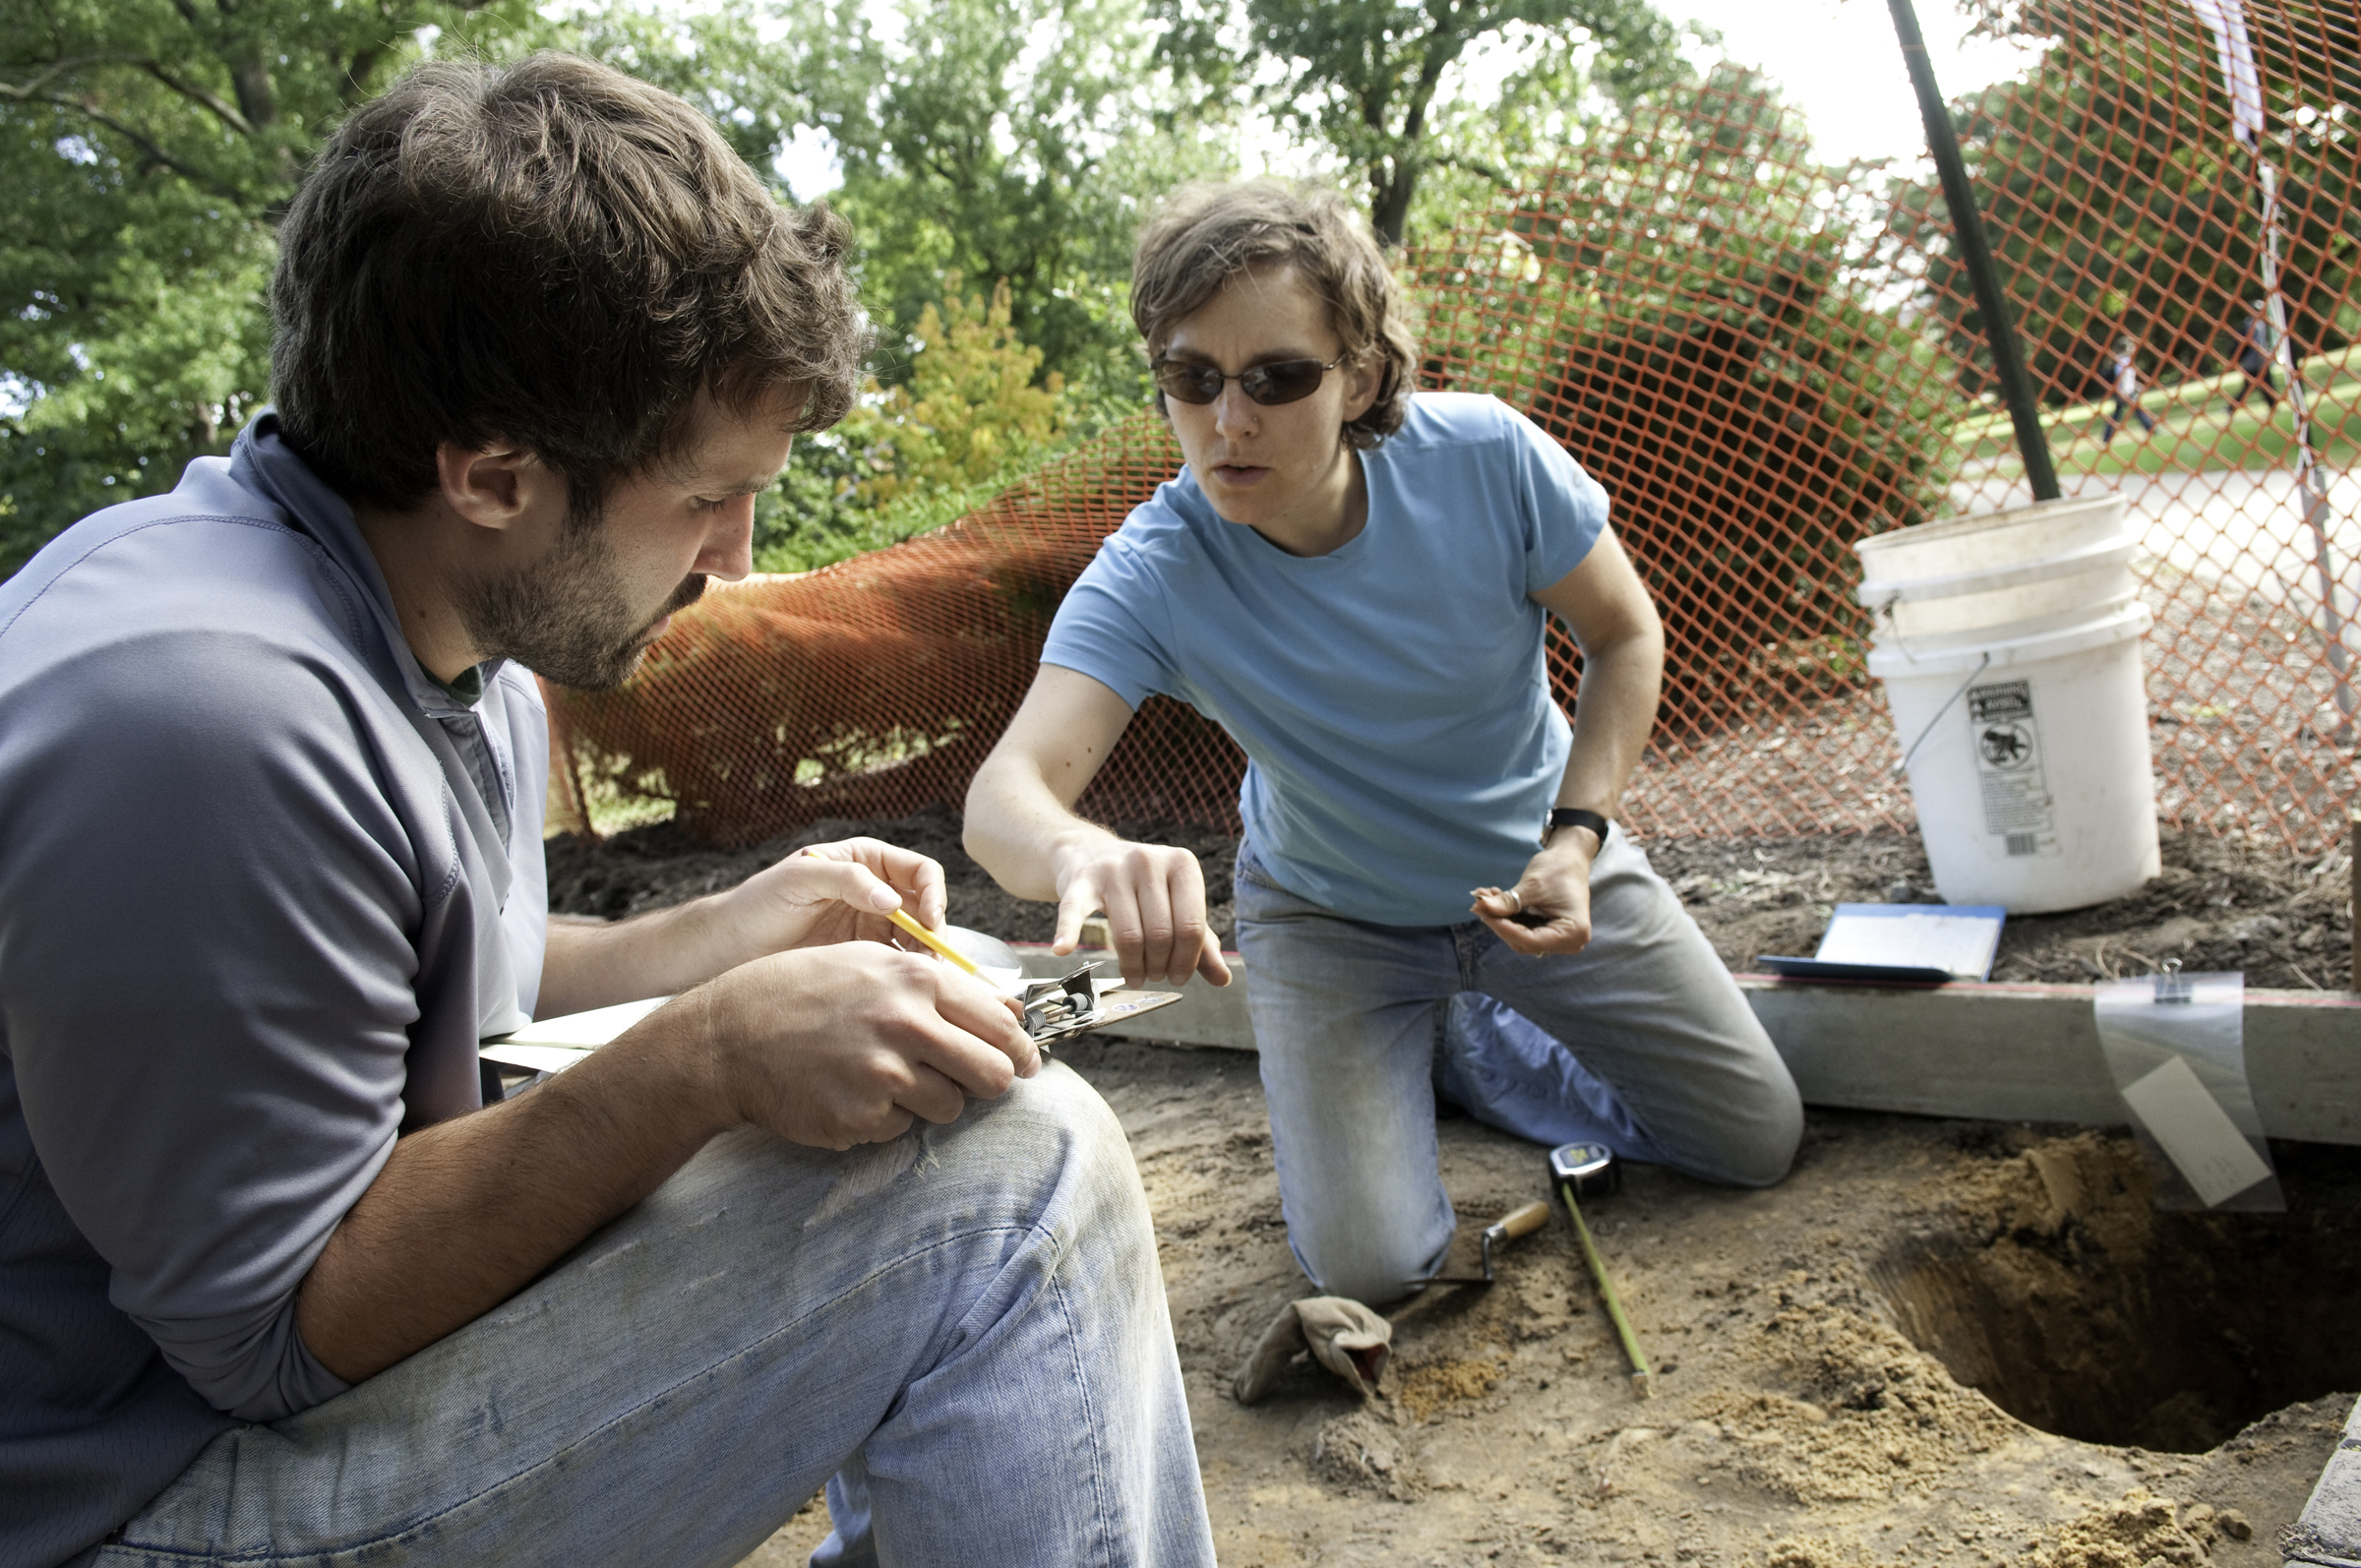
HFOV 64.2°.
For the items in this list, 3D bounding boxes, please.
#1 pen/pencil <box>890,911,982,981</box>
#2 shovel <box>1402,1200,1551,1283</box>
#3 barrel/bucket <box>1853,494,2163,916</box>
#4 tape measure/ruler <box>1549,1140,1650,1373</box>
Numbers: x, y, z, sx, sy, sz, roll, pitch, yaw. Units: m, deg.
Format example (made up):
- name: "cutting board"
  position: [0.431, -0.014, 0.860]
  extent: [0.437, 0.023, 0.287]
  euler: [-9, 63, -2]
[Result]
- name: "pen/pencil"
  position: [-0.422, 0.276, 3.202]
  extent: [0.024, 0.169, 0.020]
  euler: [-31, 19, 45]
- name: "shovel"
  position: [0.733, 1.065, 4.426]
  extent: [0.125, 0.069, 0.430]
  euler: [-1, 2, 28]
- name: "barrel/bucket"
  position: [2.195, -0.180, 4.966]
  extent: [0.681, 1.078, 0.314]
  euler: [-8, 6, 21]
- name: "tape measure/ruler"
  position: [0.961, 1.077, 4.302]
  extent: [0.155, 0.095, 0.783]
  euler: [-4, 24, 4]
